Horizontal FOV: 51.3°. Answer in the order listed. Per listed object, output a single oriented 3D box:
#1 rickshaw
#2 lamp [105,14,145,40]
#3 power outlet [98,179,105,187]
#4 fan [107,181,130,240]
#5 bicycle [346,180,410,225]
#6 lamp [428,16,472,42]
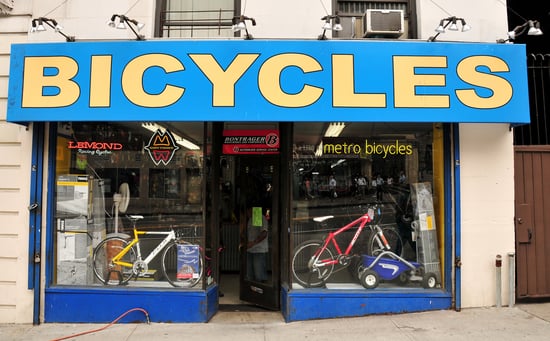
[{"bbox_3d":[2.572,2.124,12.341,1.736,0.818,1.210,2,-5,0],"label":"rickshaw"},{"bbox_3d":[-3.041,-2.937,11.730,0.726,0.620,0.612,-1,-5,-11],"label":"lamp"},{"bbox_3d":[-3.647,0.257,12.032,0.165,0.119,0.160,-2,0,-19],"label":"power outlet"},{"bbox_3d":[-3.260,0.829,12.058,0.424,1.185,0.405,1,-1,-2],"label":"fan"},{"bbox_3d":[2.230,0.652,12.029,1.407,0.879,0.696,0,-7,2],"label":"bicycle"},{"bbox_3d":[3.554,-2.927,11.693,0.645,0.538,0.662,-4,29,-18],"label":"lamp"}]
